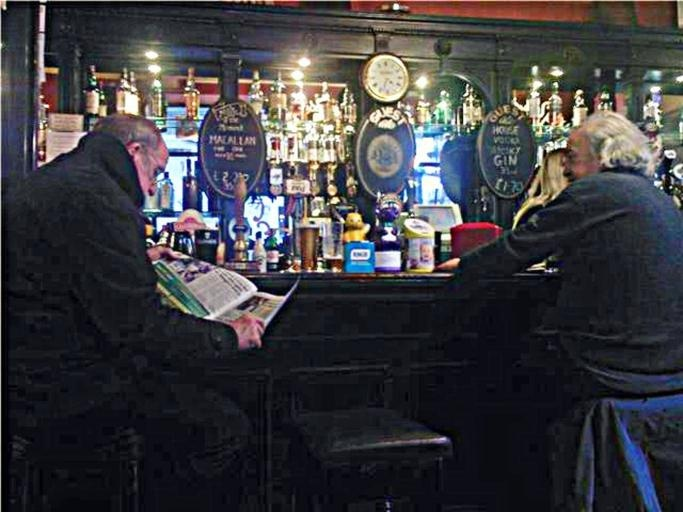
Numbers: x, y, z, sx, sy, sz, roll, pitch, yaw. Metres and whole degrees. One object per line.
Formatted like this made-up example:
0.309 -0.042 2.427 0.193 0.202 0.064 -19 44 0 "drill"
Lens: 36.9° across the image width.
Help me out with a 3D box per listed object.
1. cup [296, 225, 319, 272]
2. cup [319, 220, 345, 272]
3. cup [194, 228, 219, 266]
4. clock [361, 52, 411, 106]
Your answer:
-0.166 -0.043 5.159 0.095 0.226 0.207 -1 5 0 "cup"
-0.049 -0.052 5.283 0.109 0.241 0.178 -1 5 0 "cup"
-0.727 -0.053 5.482 0.177 0.233 0.169 3 25 -1 "cup"
0.246 -1.010 5.749 0.297 0.275 0.284 3 -15 -10 "clock"
